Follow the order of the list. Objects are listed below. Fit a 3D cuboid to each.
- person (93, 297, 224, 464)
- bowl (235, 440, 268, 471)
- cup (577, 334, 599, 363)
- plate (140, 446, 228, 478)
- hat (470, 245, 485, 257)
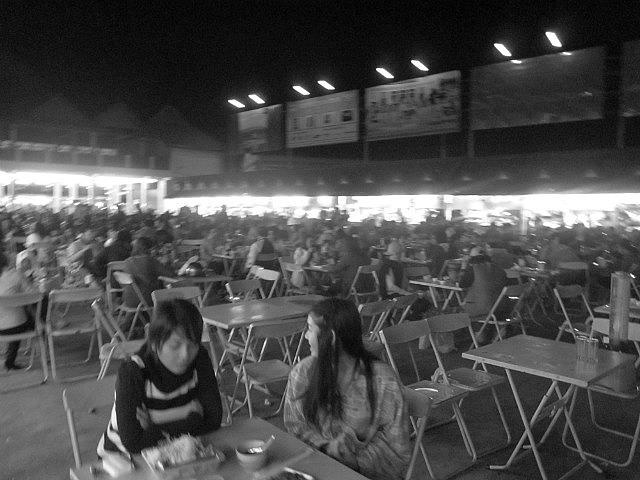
[{"bbox_3d":[-0.794,0.700,2.483,0.525,0.744,0.223,-2,3,-18],"label":"person"},{"bbox_3d":[-0.313,1.053,2.275,0.148,0.097,0.143,-11,0,0],"label":"bowl"},{"bbox_3d":[2.142,0.863,3.770,0.154,0.184,0.262,1,3,28],"label":"cup"},{"bbox_3d":[-0.660,1.034,2.251,0.398,0.123,0.218,-1,2,-10],"label":"plate"},{"bbox_3d":[3.404,0.228,10.161,0.213,0.240,0.209,-7,15,-28],"label":"hat"}]
